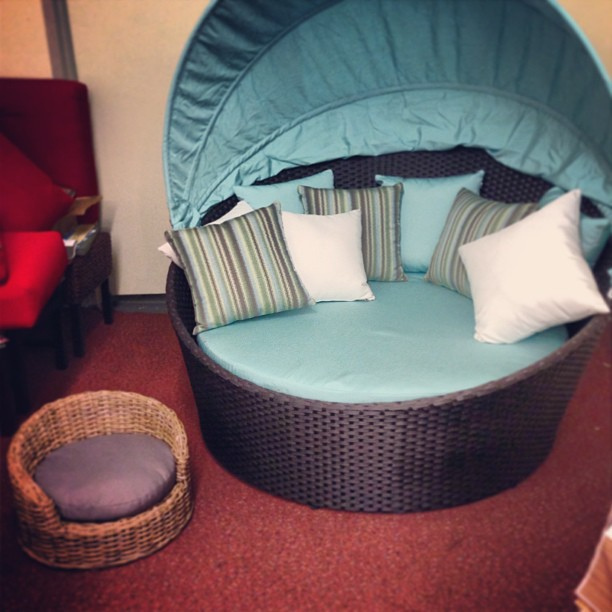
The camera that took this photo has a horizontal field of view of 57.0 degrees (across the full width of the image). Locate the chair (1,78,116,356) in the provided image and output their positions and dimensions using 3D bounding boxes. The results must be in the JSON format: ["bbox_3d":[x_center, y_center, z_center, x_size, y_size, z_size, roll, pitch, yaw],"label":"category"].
[{"bbox_3d":[-1.230,-0.464,2.904,0.454,1.358,0.844,-10,22,-16],"label":"chair"}]

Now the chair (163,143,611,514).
[{"bbox_3d":[0.249,-0.086,2.125,1.592,0.711,1.335,-1,35,7],"label":"chair"}]

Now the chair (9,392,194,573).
[{"bbox_3d":[-0.631,0.531,1.744,0.576,0.314,0.539,-9,28,-21],"label":"chair"}]
